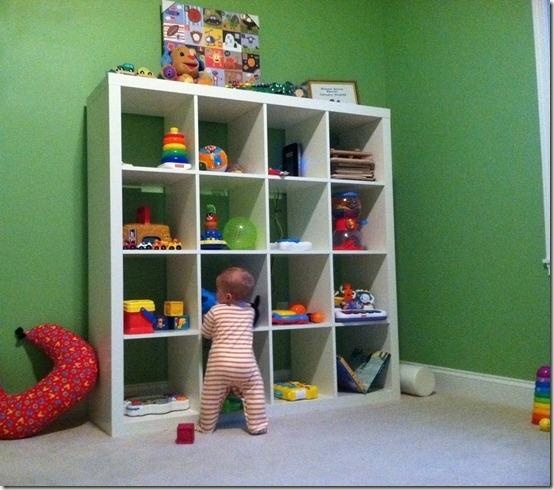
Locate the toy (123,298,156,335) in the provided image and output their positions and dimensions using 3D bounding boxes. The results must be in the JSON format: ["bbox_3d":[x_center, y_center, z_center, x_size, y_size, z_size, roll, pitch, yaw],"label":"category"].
[{"bbox_3d":[-0.687,0.354,2.571,0.155,0.172,0.148,3,-6,-30],"label":"toy"}]

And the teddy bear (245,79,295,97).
[{"bbox_3d":[-0.018,-0.948,3.102,0.148,0.082,0.197,-1,-2,39],"label":"teddy bear"}]

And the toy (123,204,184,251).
[{"bbox_3d":[-0.655,-0.086,2.664,0.280,0.227,0.217,-1,-1,22],"label":"toy"}]

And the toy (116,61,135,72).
[{"bbox_3d":[-0.803,-0.931,2.723,0.078,0.054,0.047,-1,0,-19],"label":"toy"}]

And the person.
[{"bbox_3d":[-0.219,0.510,2.548,0.337,0.784,0.227,-1,0,-1],"label":"person"}]

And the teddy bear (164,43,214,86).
[{"bbox_3d":[-0.510,-1.011,2.927,0.283,0.261,0.224,-1,0,-11],"label":"teddy bear"}]

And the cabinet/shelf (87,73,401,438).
[{"bbox_3d":[-0.216,0.079,2.898,1.813,1.894,0.541,-1,0,-28],"label":"cabinet/shelf"}]

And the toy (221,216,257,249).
[{"bbox_3d":[-0.214,-0.051,2.956,0.161,0.209,0.171,-6,-5,-4],"label":"toy"}]

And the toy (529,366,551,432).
[{"bbox_3d":[1.284,0.725,2.471,0.076,0.289,0.085,0,-1,-27],"label":"toy"}]

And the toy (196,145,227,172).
[{"bbox_3d":[-0.346,-0.475,2.902,0.209,0.141,0.111,0,-1,-37],"label":"toy"}]
